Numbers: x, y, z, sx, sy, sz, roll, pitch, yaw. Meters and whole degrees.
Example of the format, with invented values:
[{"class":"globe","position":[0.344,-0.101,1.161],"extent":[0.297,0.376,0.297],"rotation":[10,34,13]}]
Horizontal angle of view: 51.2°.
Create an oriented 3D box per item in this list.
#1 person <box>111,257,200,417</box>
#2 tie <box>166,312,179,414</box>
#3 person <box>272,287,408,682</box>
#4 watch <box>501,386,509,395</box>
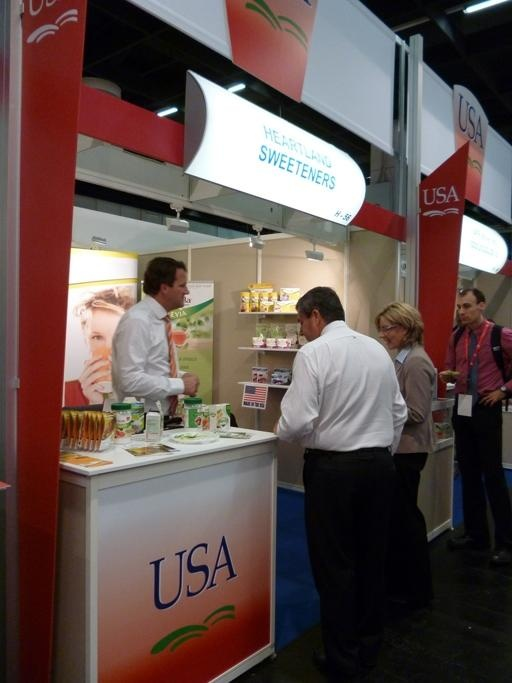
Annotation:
[{"class":"person","position":[-0.441,-0.028,2.366],"extent":[0.374,0.724,0.412],"rotation":[0,0,-18]},{"class":"tie","position":[-0.390,0.097,2.482],"extent":[0.049,0.456,0.047],"rotation":[-8,-7,42]},{"class":"person","position":[0.298,0.532,1.998],"extent":[0.418,1.498,0.321],"rotation":[0,0,15]},{"class":"watch","position":[1.472,0.286,3.167],"extent":[0.009,0.035,0.036],"rotation":[15,-1,-42]}]
